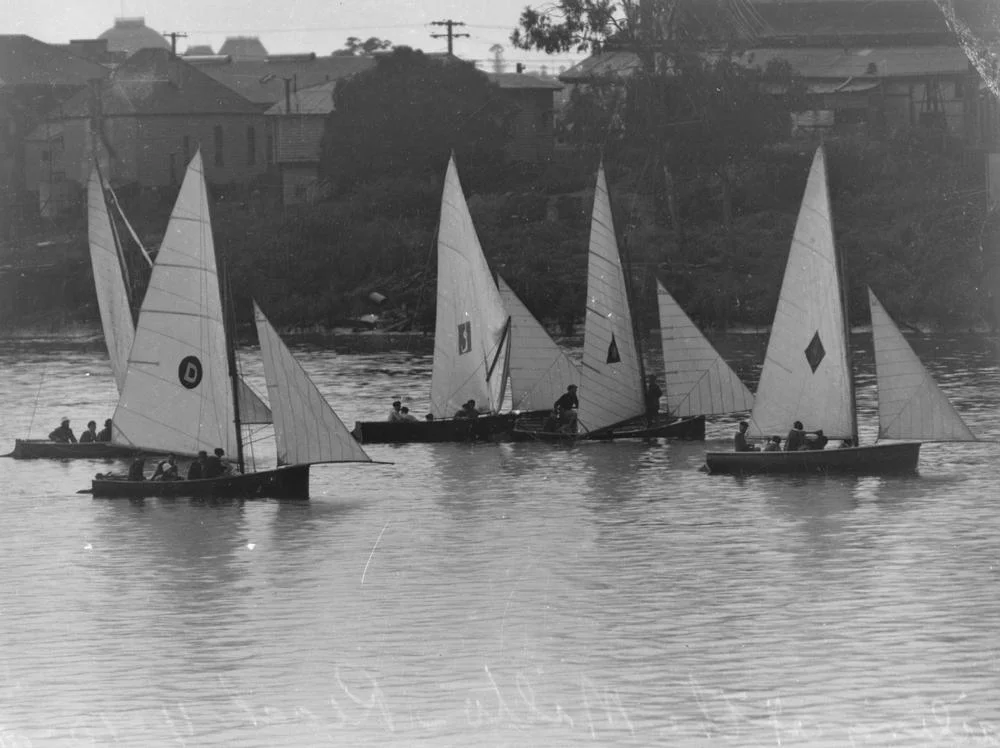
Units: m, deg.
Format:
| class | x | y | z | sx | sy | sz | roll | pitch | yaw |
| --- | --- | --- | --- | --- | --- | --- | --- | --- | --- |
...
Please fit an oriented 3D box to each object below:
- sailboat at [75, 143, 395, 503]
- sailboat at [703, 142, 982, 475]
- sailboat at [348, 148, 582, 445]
| class | x | y | z | sx | sy | sz | roll | pitch | yaw |
| --- | --- | --- | --- | --- | --- | --- | --- | --- | --- |
| sailboat | -8.814 | -1.407 | 70.076 | 6.866 | 10.529 | 1.870 | 1 | 5 | 17 |
| sailboat | 10.383 | -1.752 | 71.614 | 6.450 | 10.004 | 1.834 | 0 | 5 | 5 |
| sailboat | -1.762 | -0.780 | 81.888 | 5.563 | 11.986 | 6.043 | -3 | 9 | 37 |
